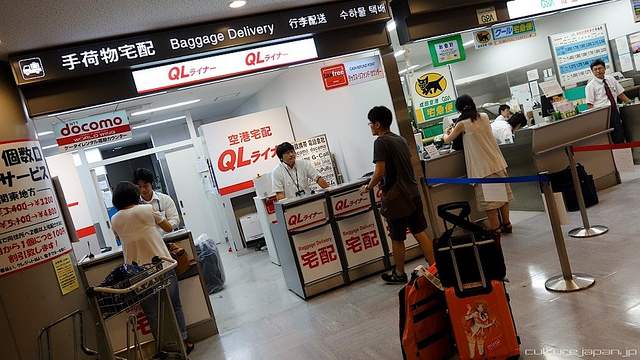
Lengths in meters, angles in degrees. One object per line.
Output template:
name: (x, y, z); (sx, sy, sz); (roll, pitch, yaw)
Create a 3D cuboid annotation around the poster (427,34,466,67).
poster: (2.192, -2.244, 7.170); (0.658, 0.488, 0.059); (-18, 14, -12)

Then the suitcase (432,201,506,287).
suitcase: (1.705, 0.767, 4.823); (0.769, 0.909, 0.522); (-13, 2, 26)

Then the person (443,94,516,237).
person: (2.734, -0.214, 7.002); (0.773, 2.535, 0.612); (-12, 7, 22)

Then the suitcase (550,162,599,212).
suitcase: (4.688, 0.081, 7.631); (0.727, 1.040, 0.889); (13, -14, -35)

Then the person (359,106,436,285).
person: (1.119, 0.258, 6.423); (0.864, 2.844, 0.845); (-13, 7, 9)

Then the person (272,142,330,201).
person: (-0.518, -0.187, 7.605); (0.880, 0.818, 0.561); (-13, 6, -7)

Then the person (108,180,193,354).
person: (-2.389, 1.323, 5.864); (0.755, 2.519, 1.185); (-17, 7, -22)

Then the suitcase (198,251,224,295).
suitcase: (-2.211, 1.859, 8.330); (0.404, 0.774, 0.224); (-17, 7, -25)

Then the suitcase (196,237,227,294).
suitcase: (-2.233, 1.753, 8.393); (0.266, 0.995, 0.547); (-12, 7, 22)

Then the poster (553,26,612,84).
poster: (6.231, -2.961, 9.713); (0.117, 1.280, 1.466); (-20, 11, -13)

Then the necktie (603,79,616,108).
necktie: (5.887, -1.768, 8.383); (0.140, 0.613, 0.121); (-10, 8, 33)
